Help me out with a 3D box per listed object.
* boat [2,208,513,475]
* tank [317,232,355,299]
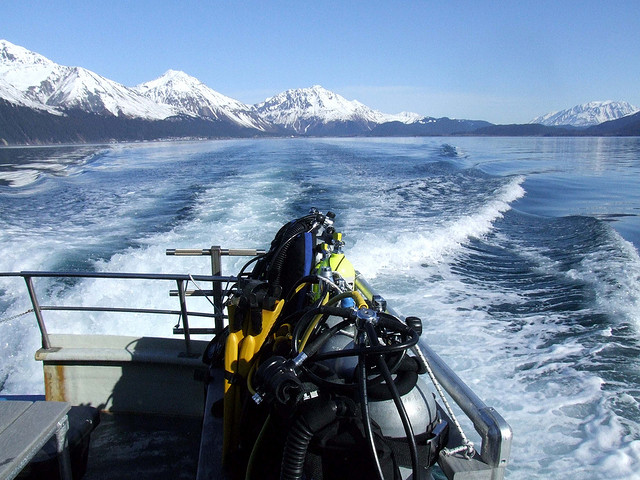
[{"bbox_3d":[-0.711,0.958,5.158,3.395,1.257,3.242,-1,21,-13],"label":"boat"},{"bbox_3d":[0.115,0.205,3.810,0.312,0.458,0.280,5,13,-3],"label":"tank"}]
